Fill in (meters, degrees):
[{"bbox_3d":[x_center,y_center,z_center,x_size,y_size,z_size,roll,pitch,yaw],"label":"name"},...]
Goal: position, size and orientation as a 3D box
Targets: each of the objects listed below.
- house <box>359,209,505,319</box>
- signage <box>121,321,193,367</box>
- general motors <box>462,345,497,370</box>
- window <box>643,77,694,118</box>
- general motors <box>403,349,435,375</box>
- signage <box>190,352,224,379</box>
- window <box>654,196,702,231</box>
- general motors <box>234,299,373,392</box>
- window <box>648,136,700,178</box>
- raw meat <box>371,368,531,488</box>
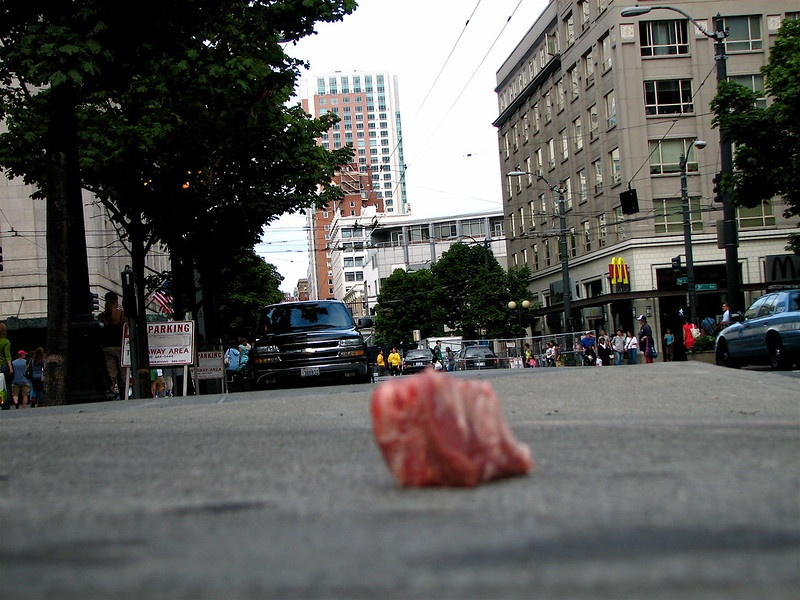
[{"bbox_3d":[3.295,-3.785,85.301,12.316,8.627,12.627,-1,-3,-5],"label":"house"},{"bbox_3d":[-4.762,0.856,17.313,0.910,0.708,0.126,-1,-5,-1],"label":"signage"},{"bbox_3d":[3.633,2.649,40.663,1.499,1.282,3.483,0,3,2],"label":"general motors"},{"bbox_3d":[13.078,-9.958,43.169,1.841,1.497,0.211,-1,-4,-9],"label":"window"},{"bbox_3d":[0.844,2.979,44.004,1.318,1.111,3.230,-1,5,9],"label":"general motors"},{"bbox_3d":[-4.210,1.427,19.469,0.825,0.885,0.496,1,3,-5],"label":"signage"},{"bbox_3d":[12.854,-4.142,41.046,2.310,1.795,0.188,-1,-2,-12],"label":"window"},{"bbox_3d":[-2.142,0.912,17.979,1.972,1.525,3.417,-2,-12,-6],"label":"general motors"},{"bbox_3d":[13.289,-7.040,42.970,2.309,1.865,0.368,0,2,-6],"label":"window"},{"bbox_3d":[0.256,0.622,4.318,0.915,0.610,0.351,-1,2,-34],"label":"raw meat"}]
